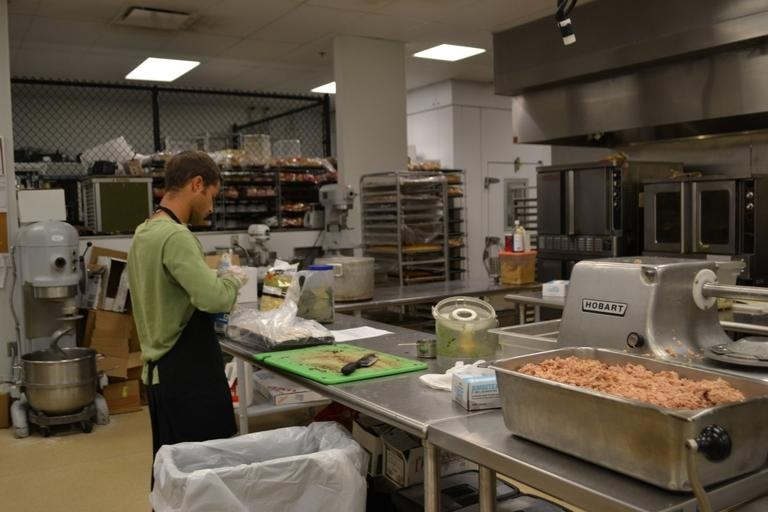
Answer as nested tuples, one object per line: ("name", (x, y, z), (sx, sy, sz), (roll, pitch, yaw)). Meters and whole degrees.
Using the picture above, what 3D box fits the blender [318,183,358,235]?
("blender", (-0.497, -0.517, 6.124), (0.322, 0.514, 0.409), (-3, 6, -13))

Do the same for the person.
("person", (-0.905, 0.231, 2.698), (0.522, 1.463, 0.407), (-5, 7, -23))

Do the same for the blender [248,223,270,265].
("blender", (-1.307, -0.126, 5.951), (0.168, 0.413, 0.441), (-5, 7, -25))

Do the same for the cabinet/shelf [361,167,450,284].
("cabinet/shelf", (0.220, -0.313, 6.135), (0.911, 1.168, 0.804), (-2, 6, -2))

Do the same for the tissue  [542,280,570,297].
("tissue ", (1.316, 0.253, 4.375), (0.179, 0.126, 0.266), (0, 6, 16))

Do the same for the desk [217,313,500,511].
("desk", (-0.105, 0.736, 2.532), (1.037, 0.503, 1.419), (-3, 6, -14))

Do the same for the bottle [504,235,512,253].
("bottle", (1.163, -0.127, 5.268), (0.066, 0.139, 0.201), (-1, 6, 8))

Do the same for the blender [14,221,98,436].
("blender", (-2.822, 0.576, 4.870), (0.713, 1.754, 0.839), (-5, 7, -26))

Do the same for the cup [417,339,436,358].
("cup", (0.208, 0.448, 2.728), (0.095, 0.040, 0.066), (3, -3, -44))

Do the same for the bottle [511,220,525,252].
("bottle", (1.209, -0.175, 5.048), (0.092, 0.265, 0.150), (-1, 6, 12))
